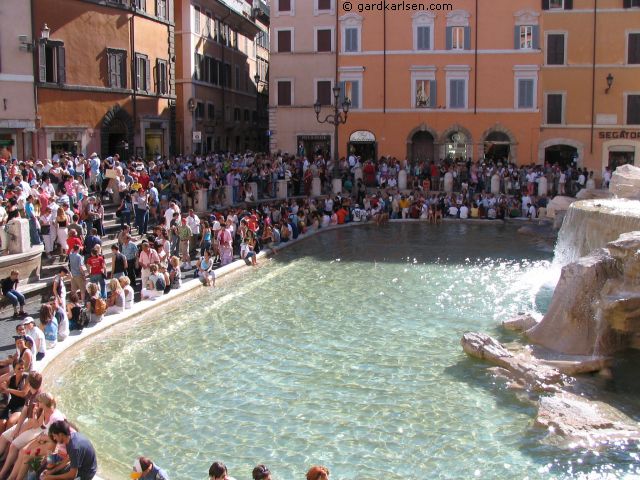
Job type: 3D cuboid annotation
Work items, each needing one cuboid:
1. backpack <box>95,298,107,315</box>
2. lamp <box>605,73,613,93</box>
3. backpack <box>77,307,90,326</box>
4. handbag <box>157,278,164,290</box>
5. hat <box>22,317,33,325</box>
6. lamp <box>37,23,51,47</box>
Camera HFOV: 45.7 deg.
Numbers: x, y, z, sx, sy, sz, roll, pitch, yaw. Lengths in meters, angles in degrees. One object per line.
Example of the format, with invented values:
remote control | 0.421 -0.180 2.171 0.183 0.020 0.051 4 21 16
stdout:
backpack | -6.072 1.833 20.886 0.314 0.531 0.242 -5 14 -21
lamp | 18.187 -9.922 48.094 0.485 1.227 0.909 7 15 27
backpack | -6.381 2.064 20.404 0.144 0.545 0.484 1 14 4
handbag | -4.816 1.333 23.101 0.278 0.259 0.437 -12 2 -7
hat | -7.324 2.013 18.938 0.236 0.226 0.380 1 -3 2
lamp | -12.658 -9.424 34.676 0.624 1.016 1.820 -5 16 -20
